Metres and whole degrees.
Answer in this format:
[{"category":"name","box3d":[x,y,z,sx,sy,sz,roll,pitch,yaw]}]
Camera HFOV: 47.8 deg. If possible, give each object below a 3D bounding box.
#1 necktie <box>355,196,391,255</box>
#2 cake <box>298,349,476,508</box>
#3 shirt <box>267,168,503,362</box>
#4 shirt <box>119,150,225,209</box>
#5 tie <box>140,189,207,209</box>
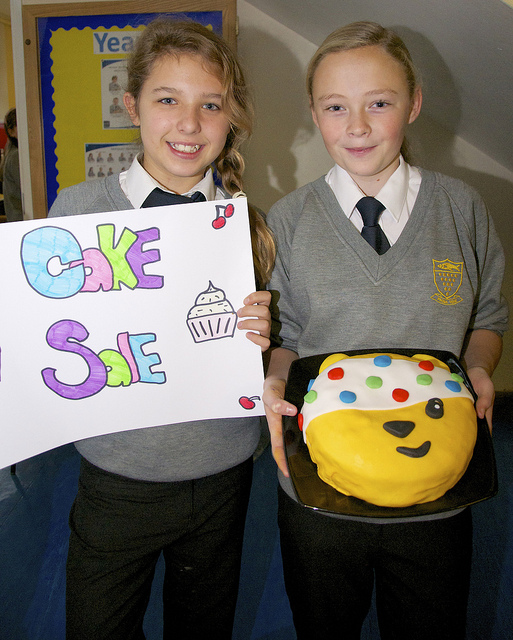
[{"category":"necktie","box3d":[0.225,-0.182,1.110,0.058,0.101,0.079,1,20,-12]},{"category":"cake","box3d":[0.209,0.164,0.939,0.270,0.191,0.254,6,18,5]},{"category":"shirt","box3d":[0.246,-0.099,1.124,0.484,0.331,0.219,-2,11,0]},{"category":"shirt","box3d":[-0.187,-0.314,1.227,0.256,0.127,0.139,-8,30,-19]},{"category":"tie","box3d":[-0.157,-0.242,1.160,0.124,0.036,0.066,-11,23,-40]}]
